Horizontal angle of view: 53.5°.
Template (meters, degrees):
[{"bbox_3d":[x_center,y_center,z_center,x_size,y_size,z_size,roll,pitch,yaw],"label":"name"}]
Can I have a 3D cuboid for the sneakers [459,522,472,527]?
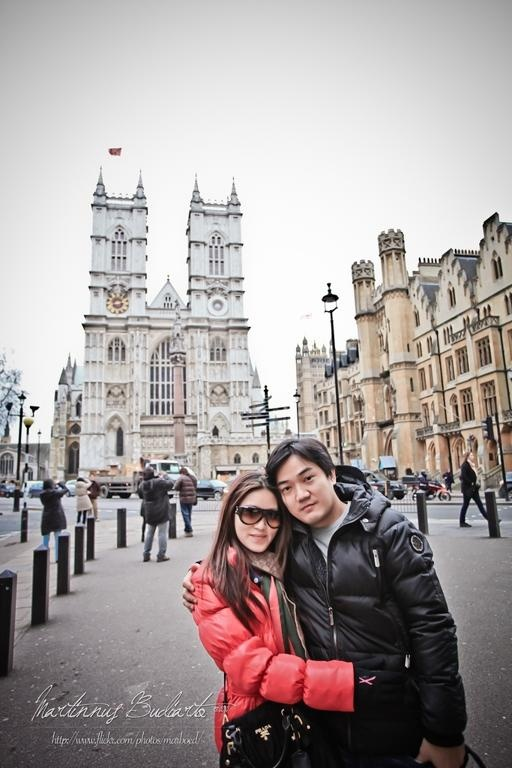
[{"bbox_3d":[5.639,3.771,13.655,0.340,0.165,0.191,-2,-6,7],"label":"sneakers"}]

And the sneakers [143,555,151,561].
[{"bbox_3d":[-2.082,3.326,9.634,0.071,0.090,0.200,-1,-18,-3],"label":"sneakers"}]

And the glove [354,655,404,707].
[{"bbox_3d":[0.431,1.055,1.779,0.141,0.124,0.059,-1,-7,-9],"label":"glove"}]

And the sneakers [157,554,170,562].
[{"bbox_3d":[-1.753,3.308,9.642,0.231,0.138,0.323,0,-8,-13],"label":"sneakers"}]
